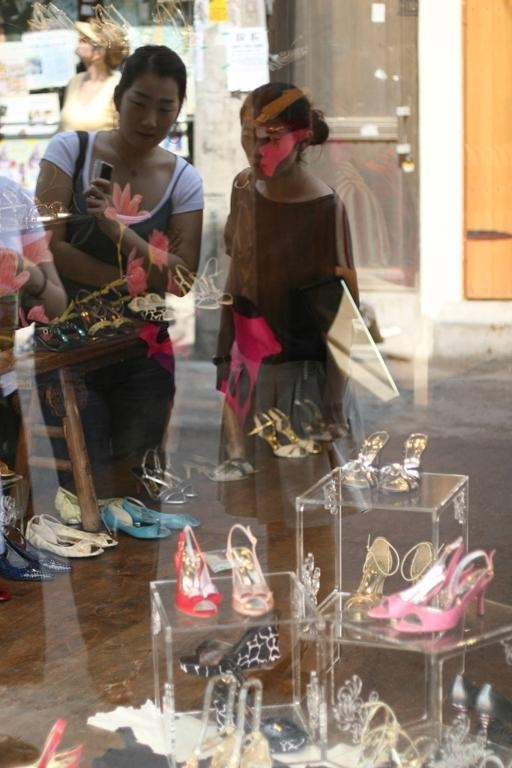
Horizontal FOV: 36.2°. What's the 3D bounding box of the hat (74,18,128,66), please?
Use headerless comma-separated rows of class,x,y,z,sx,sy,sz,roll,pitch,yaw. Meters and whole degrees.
hat,-0.368,-0.862,1.936,0.159,0.044,0.110,0,26,-19

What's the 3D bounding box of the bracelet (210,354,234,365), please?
bracelet,-0.103,-0.072,2.333,0.031,0.016,0.040,-19,6,-33

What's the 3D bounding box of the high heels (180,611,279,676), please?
high heels,-0.083,0.527,1.546,0.272,0.081,0.109,-18,10,35

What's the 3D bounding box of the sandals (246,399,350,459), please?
sandals,0.108,0.113,2.135,0.159,0.051,0.199,-22,23,-25

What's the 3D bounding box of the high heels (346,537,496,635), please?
high heels,0.314,0.366,1.483,0.245,0.110,0.134,-8,12,-24

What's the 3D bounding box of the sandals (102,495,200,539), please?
sandals,-0.331,0.408,2.404,0.293,0.099,0.173,2,10,24

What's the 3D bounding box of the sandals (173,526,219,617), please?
sandals,-0.123,0.387,1.586,0.068,0.068,0.182,-1,13,-11

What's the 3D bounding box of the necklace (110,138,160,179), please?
necklace,-0.318,-0.598,2.046,0.082,0.067,0.094,0,11,-7

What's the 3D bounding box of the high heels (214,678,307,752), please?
high heels,0.006,0.623,1.463,0.171,0.101,0.118,-4,13,1

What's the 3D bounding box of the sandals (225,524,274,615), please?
sandals,-0.013,0.386,1.610,0.082,0.082,0.229,-5,22,-8

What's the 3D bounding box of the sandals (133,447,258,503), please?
sandals,-0.215,0.260,2.449,0.209,0.095,0.220,-6,6,39
